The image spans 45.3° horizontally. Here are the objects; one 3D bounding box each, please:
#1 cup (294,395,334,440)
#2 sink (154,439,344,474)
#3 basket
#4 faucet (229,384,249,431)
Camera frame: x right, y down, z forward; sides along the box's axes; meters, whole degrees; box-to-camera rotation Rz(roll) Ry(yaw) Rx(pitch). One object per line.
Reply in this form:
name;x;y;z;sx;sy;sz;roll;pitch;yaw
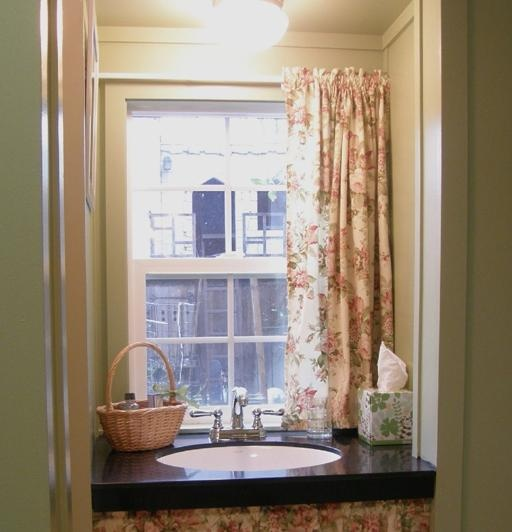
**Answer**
cup;0.205;0.519;2.121;0.118;0.136;0.134;1;-1;7
sink;-0.023;0.622;1.966;0.558;0.099;0.188;1;-1;-3
basket;-0.367;0.421;2.014;0.271;0.337;0.321;1;-1;-8
faucet;-0.062;0.503;2.221;0.057;0.142;0.231;1;-1;-2
